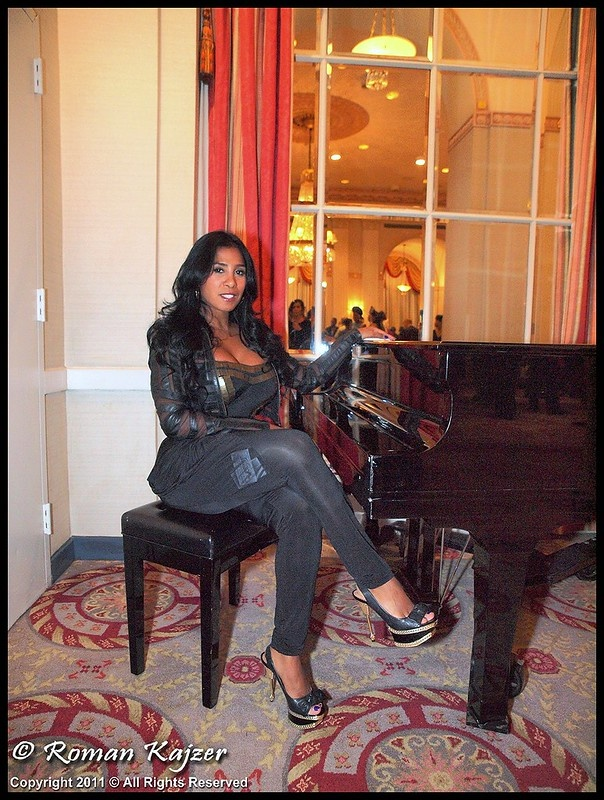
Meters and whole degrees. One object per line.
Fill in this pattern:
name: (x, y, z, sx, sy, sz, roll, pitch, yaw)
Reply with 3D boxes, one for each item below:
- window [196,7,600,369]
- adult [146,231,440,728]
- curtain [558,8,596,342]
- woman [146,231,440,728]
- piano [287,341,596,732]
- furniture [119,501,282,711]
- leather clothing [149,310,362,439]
window: (0.437, -0.920, 2.670, 1.714, 1.722, 0.076, 0, 11, 0)
adult: (0.027, 0.152, 1.816, 0.654, 1.205, 0.910, -4, 9, -41)
curtain: (1.266, -0.963, 2.767, 0.167, 1.419, 0.115, 4, 8, 21)
woman: (0.028, 0.159, 1.842, 0.898, 1.185, 0.645, 9, 9, 43)
piano: (0.376, 0.319, 1.815, 0.592, 0.981, 0.727, 0, 8, -8)
furniture: (-0.325, 0.515, 1.932, 0.457, 0.647, 0.609, 6, -9, -29)
leather clothing: (-0.088, -0.061, 1.814, 0.667, 0.276, 0.265, -11, 15, 29)
